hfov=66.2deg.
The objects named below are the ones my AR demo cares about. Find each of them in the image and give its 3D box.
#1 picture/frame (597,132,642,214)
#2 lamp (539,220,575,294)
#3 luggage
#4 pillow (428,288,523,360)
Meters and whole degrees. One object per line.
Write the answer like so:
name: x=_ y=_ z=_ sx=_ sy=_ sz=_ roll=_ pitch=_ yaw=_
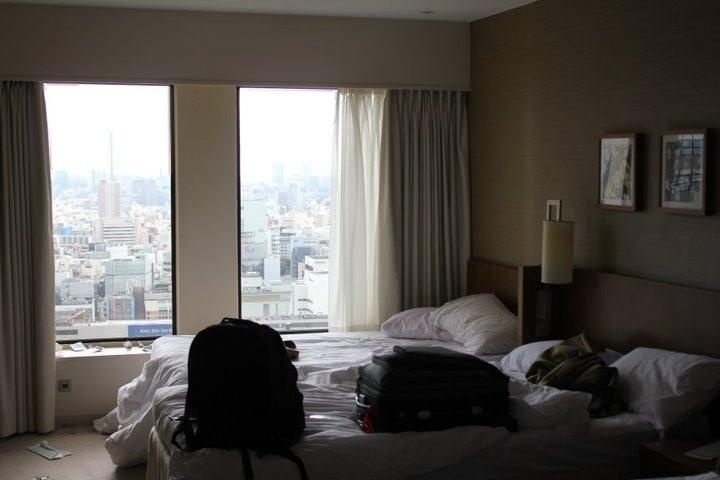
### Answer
picture/frame: x=1.982 y=-0.518 z=4.229 sx=0.071 sy=0.583 sz=0.347 roll=-4 pitch=5 yaw=-24
lamp: x=1.603 y=0.100 z=4.459 sx=0.372 sy=0.479 sz=0.367 roll=2 pitch=4 yaw=18
luggage: x=0.448 y=0.895 z=3.248 sx=0.623 sy=0.350 sz=0.613 roll=-2 pitch=-5 yaw=-12
pillow: x=1.069 y=0.738 z=4.843 sx=0.497 sy=0.221 sz=0.782 roll=-12 pitch=21 yaw=-8
